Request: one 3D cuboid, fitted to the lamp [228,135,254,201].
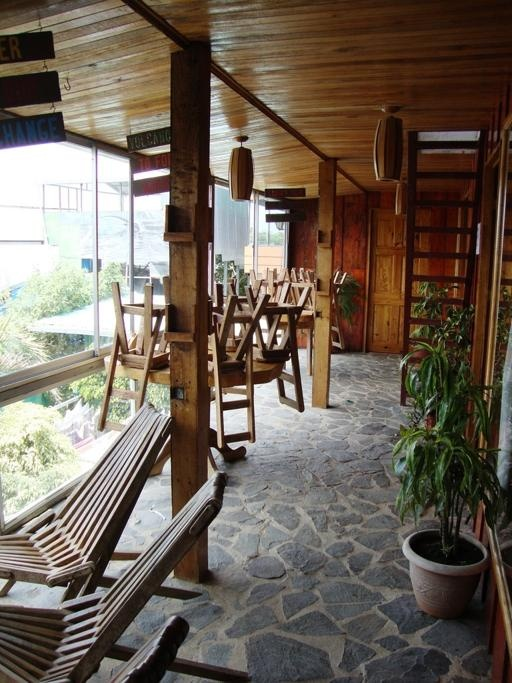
[{"bbox_3d":[-0.113,-1.205,3.613,0.162,0.382,0.181,-1,6,-3],"label":"lamp"}]

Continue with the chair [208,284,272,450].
[{"bbox_3d":[-0.160,0.248,3.821,0.451,1.060,0.563,-6,-1,14],"label":"chair"}]

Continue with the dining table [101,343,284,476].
[{"bbox_3d":[-0.568,0.411,3.864,1.126,0.813,1.263,2,5,16],"label":"dining table"}]

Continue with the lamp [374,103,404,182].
[{"bbox_3d":[0.796,-1.183,3.077,0.154,0.392,0.180,0,7,12],"label":"lamp"}]
